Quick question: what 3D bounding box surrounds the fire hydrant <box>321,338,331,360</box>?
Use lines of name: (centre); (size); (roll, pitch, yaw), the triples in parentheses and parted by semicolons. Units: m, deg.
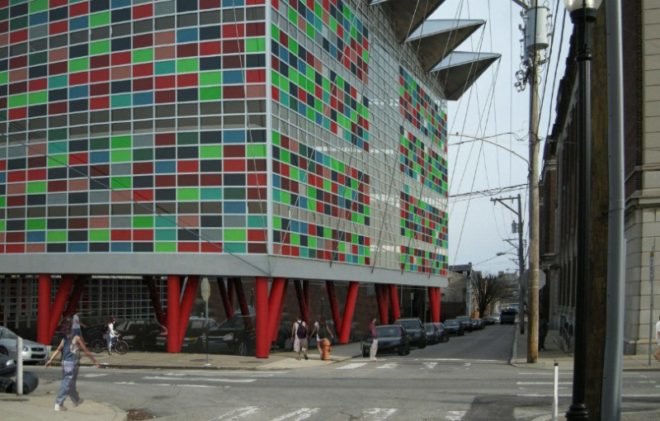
fire hydrant: (-0.254, 7.756, 48.555); (0.573, 1.238, 0.992); (6, -1, 0)

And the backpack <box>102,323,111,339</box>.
backpack: (-12.348, 6.713, 47.851); (0.279, 0.838, 0.897); (6, -1, -21)

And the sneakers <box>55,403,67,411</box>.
sneakers: (-9.957, 7.319, 32.168); (0.548, 0.275, 0.182); (8, -7, -40)

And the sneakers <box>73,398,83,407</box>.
sneakers: (-9.500, 7.226, 32.655); (0.265, 0.304, 0.448); (6, -3, 39)

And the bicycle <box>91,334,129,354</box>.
bicycle: (-12.264, 7.483, 48.463); (1.792, 1.360, 1.008); (-4, -12, 14)
